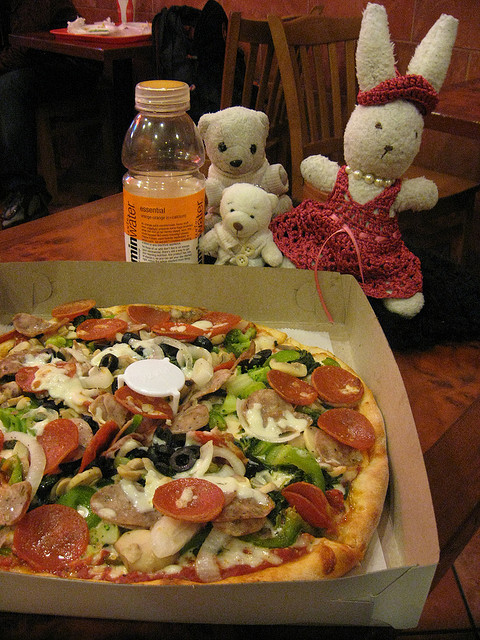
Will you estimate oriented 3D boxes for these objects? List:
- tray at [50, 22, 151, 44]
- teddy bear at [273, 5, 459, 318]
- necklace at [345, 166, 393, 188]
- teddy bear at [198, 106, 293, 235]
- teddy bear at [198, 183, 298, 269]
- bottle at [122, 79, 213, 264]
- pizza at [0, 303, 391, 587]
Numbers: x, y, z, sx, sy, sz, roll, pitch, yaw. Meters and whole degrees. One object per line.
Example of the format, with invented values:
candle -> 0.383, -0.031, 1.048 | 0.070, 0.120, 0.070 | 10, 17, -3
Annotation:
tray -> -1.015, -1.987, 3.648 | 0.791, 0.094, 0.346 | 18, 29, 28
teddy bear -> 0.251, -0.337, 1.109 | 0.373, 0.576, 0.264 | 7, 26, 9
necklace -> 0.273, -0.312, 1.134 | 0.110, 0.034, 0.036 | 17, 29, 27
teddy bear -> -0.008, -0.442, 1.421 | 0.259, 0.323, 0.272 | -25, 40, -32
teddy bear -> 0.013, -0.223, 1.268 | 0.191, 0.194, 0.104 | 12, 40, 11
bottle -> -0.163, -0.340, 1.254 | 0.234, 0.431, 0.393 | -3, 26, -11
pizza -> -0.086, 0.145, 0.950 | 0.660, 0.148, 0.723 | -6, 27, -18
